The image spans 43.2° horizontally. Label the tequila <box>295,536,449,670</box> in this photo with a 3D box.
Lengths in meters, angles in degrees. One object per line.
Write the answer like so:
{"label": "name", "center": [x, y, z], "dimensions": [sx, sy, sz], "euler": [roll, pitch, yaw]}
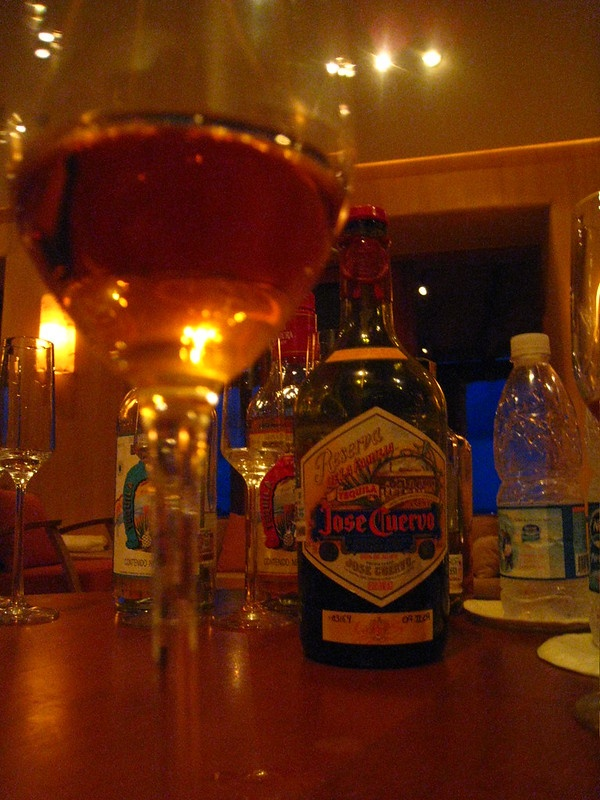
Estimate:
{"label": "tequila", "center": [0.041, 0.132, 0.493], "dimensions": [0.081, 0.087, 0.079], "euler": [2, -23, -5]}
